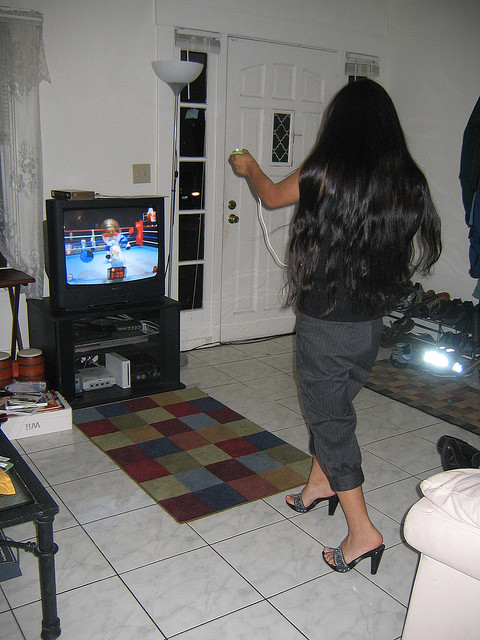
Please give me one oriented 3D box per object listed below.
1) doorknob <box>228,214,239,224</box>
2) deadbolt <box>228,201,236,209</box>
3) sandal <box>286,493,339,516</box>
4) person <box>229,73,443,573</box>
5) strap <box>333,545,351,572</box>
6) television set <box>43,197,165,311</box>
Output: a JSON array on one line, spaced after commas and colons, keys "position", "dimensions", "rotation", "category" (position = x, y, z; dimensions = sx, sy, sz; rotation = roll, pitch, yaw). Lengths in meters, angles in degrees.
[{"position": [-0.051, -0.761, 3.826], "dimensions": [0.072, 0.052, 0.030], "rotation": [-4, 14, -30], "category": "doorknob"}, {"position": [-0.061, -0.861, 3.809], "dimensions": [0.064, 0.056, 0.014], "rotation": [-6, 13, -38], "category": "deadbolt"}, {"position": [0.268, 0.671, 1.942], "dimensions": [0.206, 0.080, 0.111], "rotation": [3, 8, 14], "category": "sandal"}, {"position": [0.440, -0.053, 2.187], "dimensions": [0.658, 1.454, 1.803], "rotation": [5, 11, 17], "category": "person"}, {"position": [0.309, 0.745, 1.584], "dimensions": [0.073, 0.017, 0.037], "rotation": [7, 50, -29], "category": "strap"}, {"position": [-0.834, -0.402, 3.024], "dimensions": [0.663, 0.607, 0.462], "rotation": [-9, 18, -34], "category": "television set"}]
